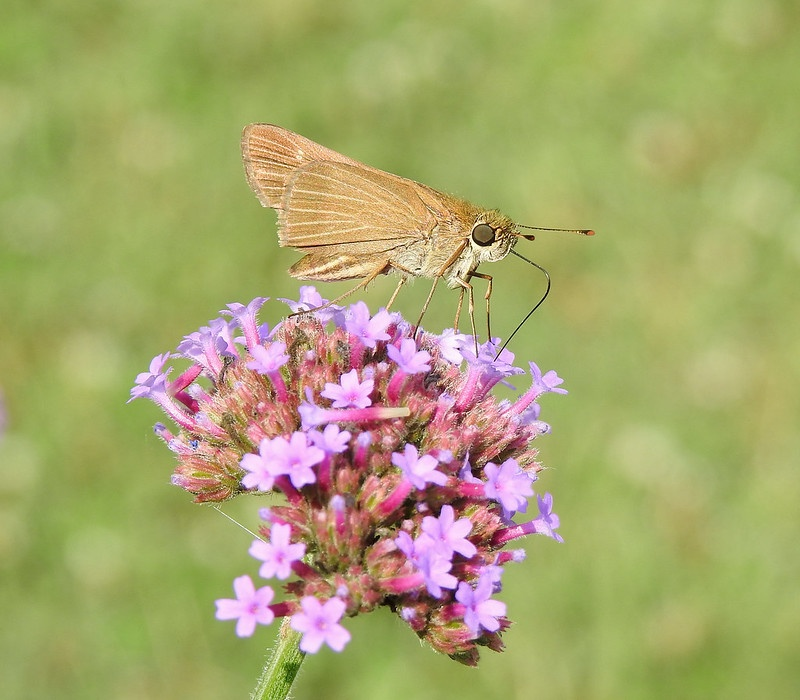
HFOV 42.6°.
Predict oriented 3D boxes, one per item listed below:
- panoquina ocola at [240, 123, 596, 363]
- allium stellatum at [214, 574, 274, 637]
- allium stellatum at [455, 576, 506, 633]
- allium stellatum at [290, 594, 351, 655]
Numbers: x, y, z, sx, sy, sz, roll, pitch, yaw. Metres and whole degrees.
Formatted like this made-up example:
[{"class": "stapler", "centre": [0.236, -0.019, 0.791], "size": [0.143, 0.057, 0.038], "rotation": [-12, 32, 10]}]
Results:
[{"class": "panoquina ocola", "centre": [0.071, -1.231, 10.197], "size": [2.928, 1.382, 2.057], "rotation": [8, -60, 0]}, {"class": "allium stellatum", "centre": [-1.198, 2.029, 8.144], "size": [0.366, 0.388, 0.576], "rotation": [5, -87, 35]}, {"class": "allium stellatum", "centre": [0.649, 2.011, 8.330], "size": [0.308, 0.508, 0.421], "rotation": [-29, -60, 14]}, {"class": "allium stellatum", "centre": [-0.641, 2.181, 8.174], "size": [0.441, 0.485, 0.478], "rotation": [-21, -96, 34]}]
